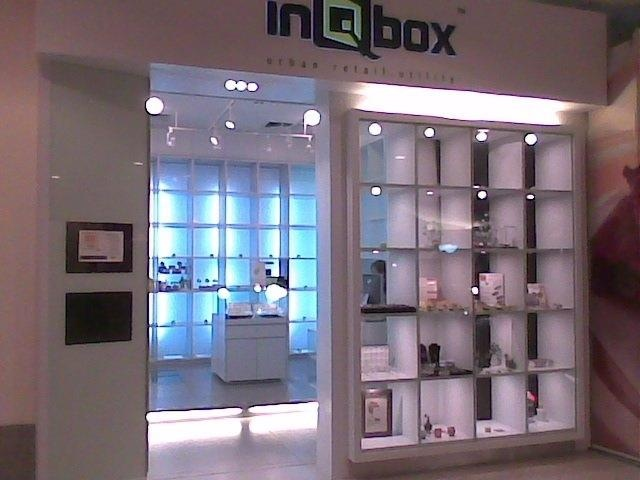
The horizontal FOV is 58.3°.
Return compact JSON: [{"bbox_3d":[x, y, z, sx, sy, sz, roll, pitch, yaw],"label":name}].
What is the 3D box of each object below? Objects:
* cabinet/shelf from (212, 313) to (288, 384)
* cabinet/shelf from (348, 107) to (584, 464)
[{"bbox_3d":[-1.177,1.711,9.092,1.130,0.958,1.159,3,-4,-34],"label":"cabinet/shelf"},{"bbox_3d":[1.585,0.356,5.834,0.757,3.319,2.493,-17,-3,-30],"label":"cabinet/shelf"}]
